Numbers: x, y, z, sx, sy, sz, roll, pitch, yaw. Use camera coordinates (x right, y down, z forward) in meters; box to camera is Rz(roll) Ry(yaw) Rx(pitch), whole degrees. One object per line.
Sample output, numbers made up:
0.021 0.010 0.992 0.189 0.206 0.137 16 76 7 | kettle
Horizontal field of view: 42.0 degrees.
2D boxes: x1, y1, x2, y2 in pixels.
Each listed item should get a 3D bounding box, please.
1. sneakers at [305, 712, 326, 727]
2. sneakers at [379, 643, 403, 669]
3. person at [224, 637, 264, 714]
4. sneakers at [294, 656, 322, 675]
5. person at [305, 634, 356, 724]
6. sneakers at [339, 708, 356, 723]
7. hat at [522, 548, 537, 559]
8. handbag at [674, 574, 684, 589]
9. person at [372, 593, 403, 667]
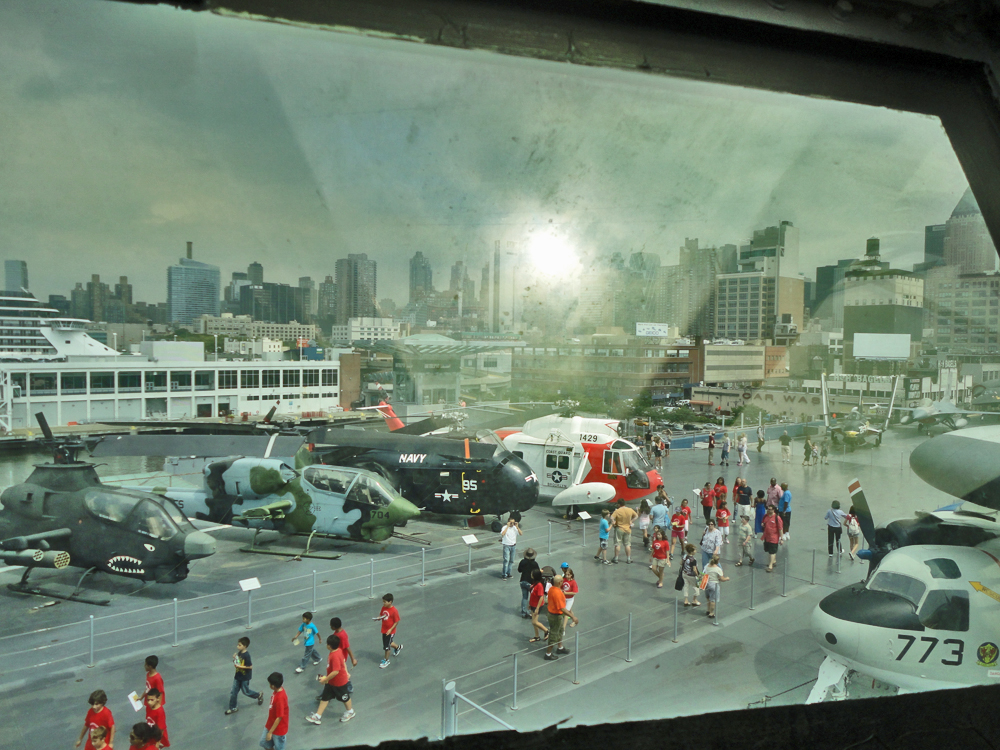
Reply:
-3.090 5.794 21.932 0.367 0.141 0.119 5 2 -9 | sneakers
-1.962 5.009 23.499 0.182 0.228 0.556 15 32 14 | sneakers
-4.423 5.045 22.438 0.629 1.298 1.287 -2 1 -12 | person
-3.414 5.136 23.102 0.189 0.246 0.619 1 -8 26 | sneakers
-2.877 5.109 22.192 0.712 1.451 1.100 -2 1 -5 | person
-2.578 5.741 22.048 0.110 0.122 0.300 -1 -1 25 | sneakers
0.535 3.499 25.574 0.215 0.147 0.346 0 -3 3 | hat
3.564 4.097 26.041 0.197 0.333 0.443 -2 1 9 | handbag
-2.037 4.556 23.844 0.388 1.256 1.179 -2 1 -6 | person
